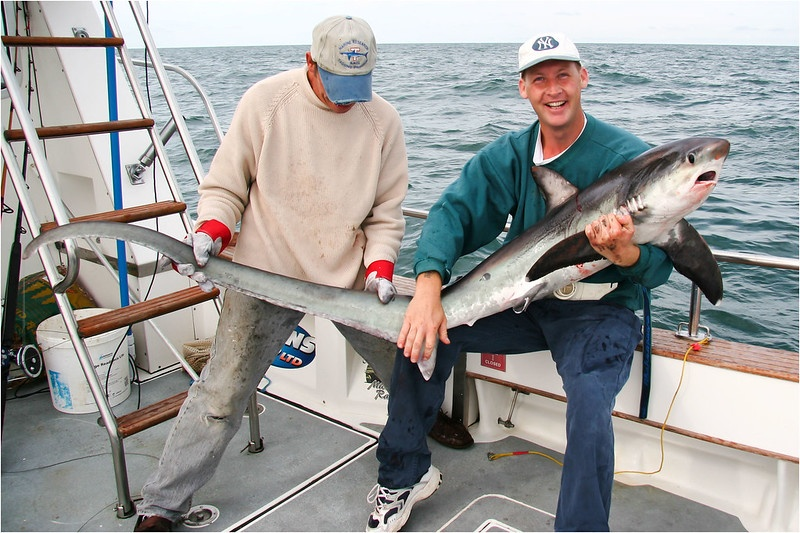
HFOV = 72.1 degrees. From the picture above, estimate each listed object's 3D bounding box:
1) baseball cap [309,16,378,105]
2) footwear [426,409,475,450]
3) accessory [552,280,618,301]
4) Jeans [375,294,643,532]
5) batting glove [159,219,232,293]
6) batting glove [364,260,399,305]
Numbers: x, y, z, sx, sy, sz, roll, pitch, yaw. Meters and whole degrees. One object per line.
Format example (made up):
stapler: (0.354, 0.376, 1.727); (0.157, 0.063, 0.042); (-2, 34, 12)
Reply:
baseball cap: (-0.291, -1.047, 2.841); (0.340, 0.436, 0.272); (-3, 25, -8)
footwear: (0.359, 1.149, 3.816); (0.431, 0.164, 0.163); (14, 34, 40)
accessory: (1.088, 0.145, 3.215); (0.225, 0.055, 0.162); (-4, 7, 32)
Jeans: (0.654, 0.859, 3.224); (1.088, 0.878, 1.314); (6, 38, 41)
batting glove: (-1.020, -0.077, 2.887); (0.113, 0.286, 0.377); (41, 57, 5)
batting glove: (-0.099, 0.076, 3.084); (0.156, 0.104, 0.254); (30, 29, -4)
